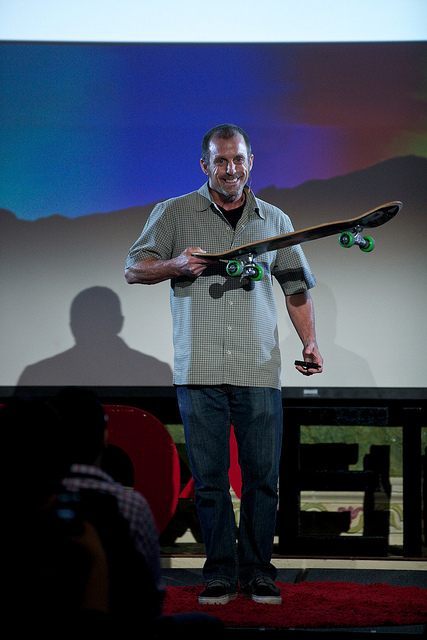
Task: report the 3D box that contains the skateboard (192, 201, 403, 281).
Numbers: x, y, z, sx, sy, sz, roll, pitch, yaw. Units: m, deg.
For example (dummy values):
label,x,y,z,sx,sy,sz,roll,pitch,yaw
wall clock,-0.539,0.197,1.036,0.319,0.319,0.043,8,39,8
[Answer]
label,x,y,z,sx,sy,sz,roll,pitch,yaw
skateboard,0.331,-0.290,2.313,0.822,0.123,0.186,-17,-17,9

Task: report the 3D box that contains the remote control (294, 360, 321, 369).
label,x,y,z,sx,sy,sz,roll,pitch,yaw
remote control,0.335,0.161,2.163,0.138,0.022,0.026,12,-14,-37

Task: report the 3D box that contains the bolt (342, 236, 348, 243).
label,x,y,z,sx,sy,sz,roll,pitch,yaw
bolt,0.430,-0.265,1.969,0.023,0.021,0.006,1,0,14
